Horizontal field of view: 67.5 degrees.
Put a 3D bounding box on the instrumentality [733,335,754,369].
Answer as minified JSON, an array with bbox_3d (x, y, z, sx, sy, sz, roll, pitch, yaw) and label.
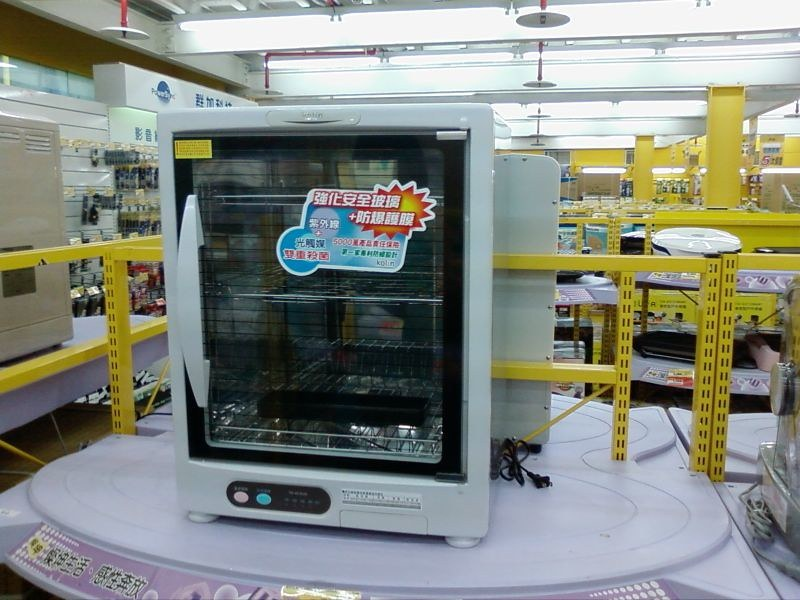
[{"bbox_3d":[2.691,0.414,4.668,0.150,0.197,0.376,5,8,29],"label":"instrumentality"}]

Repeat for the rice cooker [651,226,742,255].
[{"bbox_3d":[1.253,-0.247,2.541,0.326,0.125,0.708,3,7,22],"label":"rice cooker"}]

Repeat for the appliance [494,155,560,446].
[{"bbox_3d":[0.507,0.024,2.455,0.268,1.226,0.196,2,8,8],"label":"appliance"}]

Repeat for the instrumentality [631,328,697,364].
[{"bbox_3d":[2.194,0.365,4.850,0.462,0.102,0.441,5,8,31],"label":"instrumentality"}]
